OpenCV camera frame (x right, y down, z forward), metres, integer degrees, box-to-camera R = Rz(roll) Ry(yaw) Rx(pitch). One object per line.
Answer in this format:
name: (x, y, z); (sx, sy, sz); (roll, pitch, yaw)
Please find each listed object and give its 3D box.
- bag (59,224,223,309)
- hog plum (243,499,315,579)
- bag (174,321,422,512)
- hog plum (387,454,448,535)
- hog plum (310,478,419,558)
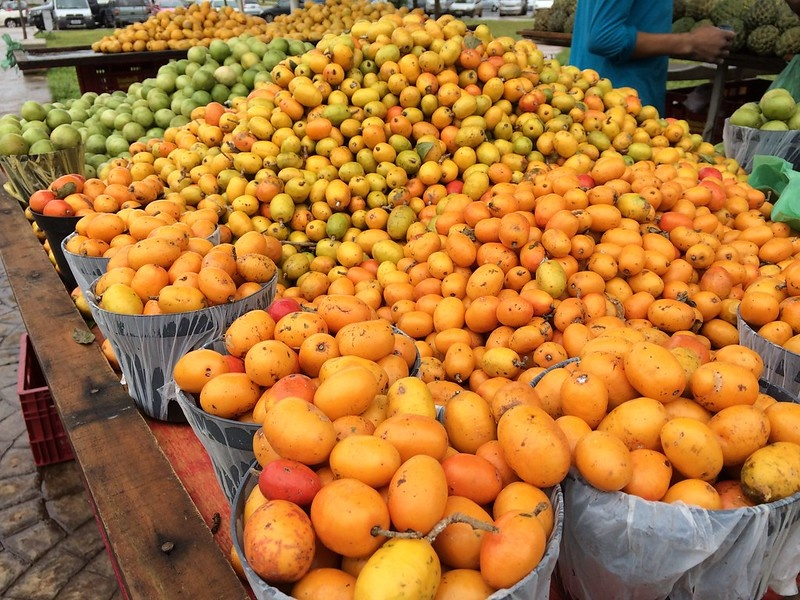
bag: (-1.592, -0.116, 3.565); (0.557, 0.366, 0.540); (-5, 27, -14)
hog plum: (-0.402, 0.792, 2.109); (0.241, 0.266, 0.213); (-12, -1, -27)
bag: (-0.668, 0.478, 2.804); (0.704, 0.482, 0.733); (1, 15, 2)
hog plum: (0.064, 0.643, 2.029); (0.171, 0.229, 0.144); (17, -18, 10)
hog plum: (-0.127, 0.746, 2.076); (0.272, 0.211, 0.209); (11, -10, 37)
